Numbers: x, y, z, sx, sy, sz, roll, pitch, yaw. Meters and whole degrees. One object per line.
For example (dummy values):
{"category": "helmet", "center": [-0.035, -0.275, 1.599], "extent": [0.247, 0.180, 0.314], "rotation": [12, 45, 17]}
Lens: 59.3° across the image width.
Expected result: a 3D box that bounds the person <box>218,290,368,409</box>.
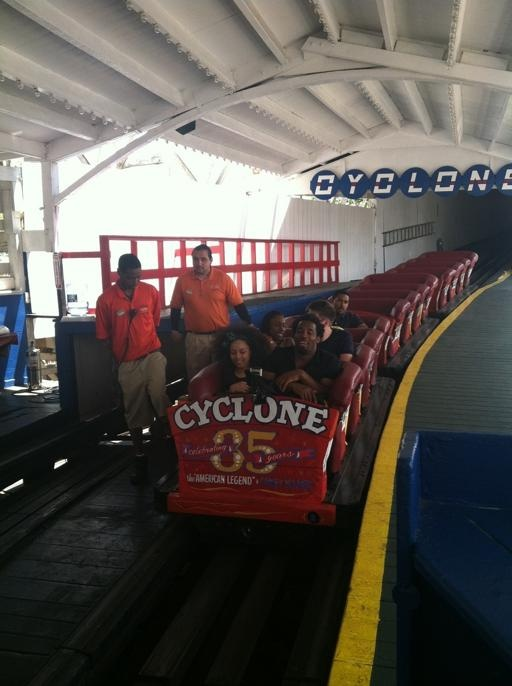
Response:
{"category": "person", "center": [0.311, 0.035, 3.535], "extent": [1.219, 0.658, 0.537], "rotation": [-24, 42, -29]}
